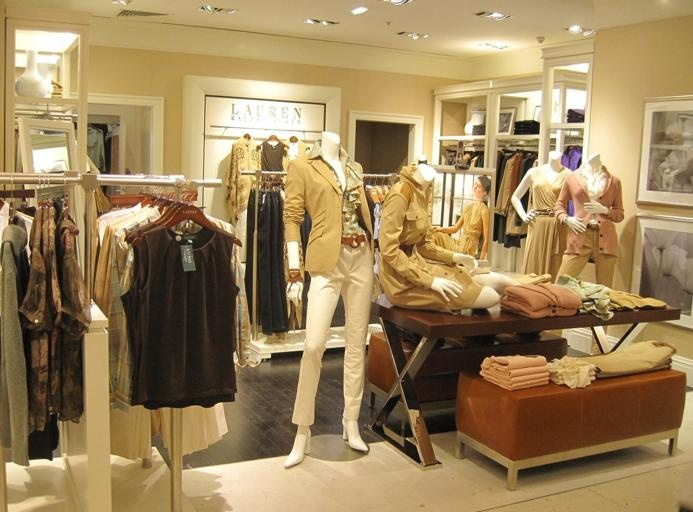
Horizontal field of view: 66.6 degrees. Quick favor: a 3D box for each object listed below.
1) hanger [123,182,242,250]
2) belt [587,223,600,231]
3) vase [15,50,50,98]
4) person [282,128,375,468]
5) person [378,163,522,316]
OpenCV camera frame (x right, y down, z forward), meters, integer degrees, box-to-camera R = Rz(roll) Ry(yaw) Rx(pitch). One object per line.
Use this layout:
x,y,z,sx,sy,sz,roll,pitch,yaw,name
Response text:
-0.884,-0.224,2.678,0.407,0.182,0.408,-3,8,-30,hanger
2.366,-0.279,5.044,0.076,0.047,0.076,1,-1,-34,belt
-3.088,-1.800,5.196,0.307,0.488,0.294,-1,9,-26,vase
-0.111,0.253,3.429,0.610,2.087,0.398,1,8,-10,person
0.631,-0.126,3.516,0.832,0.951,0.486,3,8,3,person
